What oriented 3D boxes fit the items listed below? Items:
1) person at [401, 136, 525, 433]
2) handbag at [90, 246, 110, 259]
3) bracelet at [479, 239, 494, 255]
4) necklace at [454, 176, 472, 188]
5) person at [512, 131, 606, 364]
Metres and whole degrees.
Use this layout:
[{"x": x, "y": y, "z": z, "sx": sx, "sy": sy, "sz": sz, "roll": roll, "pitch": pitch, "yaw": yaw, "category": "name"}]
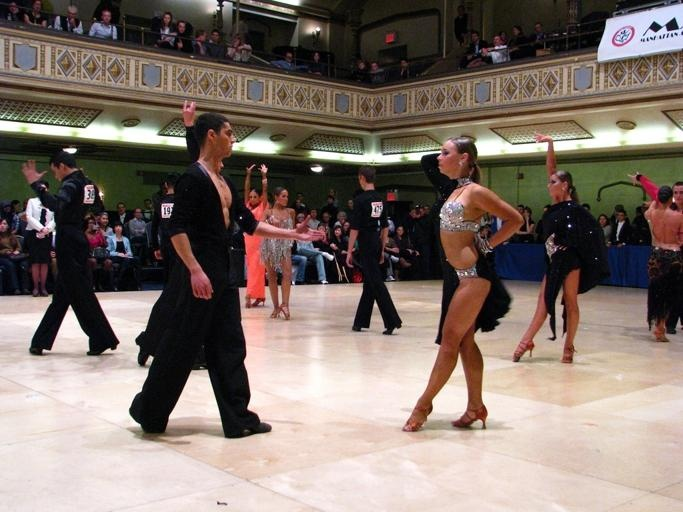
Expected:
[{"x": 0.804, "y": 0.167, "z": 3.661, "sx": 0.769, "sy": 1.979, "sz": 0.562, "roll": 0, "pitch": 5, "yaw": 6, "category": "person"}, {"x": -5.282, "y": -0.079, "z": 11.716, "sx": 0.211, "sy": 0.183, "sz": 0.274, "roll": 2, "pitch": -3, "yaw": 6, "category": "handbag"}, {"x": 0.972, "y": -0.051, "z": 3.562, "sx": 0.104, "sy": 0.095, "sz": 0.082, "roll": 15, "pitch": 33, "yaw": 7, "category": "bracelet"}, {"x": 0.823, "y": -0.497, "z": 3.600, "sx": 0.066, "sy": 0.048, "sz": 0.085, "roll": -16, "pitch": -5, "yaw": -12, "category": "necklace"}, {"x": 2.468, "y": -0.123, "z": 6.072, "sx": 0.981, "sy": 2.493, "sz": 0.678, "roll": 0, "pitch": 2, "yaw": 18, "category": "person"}]
